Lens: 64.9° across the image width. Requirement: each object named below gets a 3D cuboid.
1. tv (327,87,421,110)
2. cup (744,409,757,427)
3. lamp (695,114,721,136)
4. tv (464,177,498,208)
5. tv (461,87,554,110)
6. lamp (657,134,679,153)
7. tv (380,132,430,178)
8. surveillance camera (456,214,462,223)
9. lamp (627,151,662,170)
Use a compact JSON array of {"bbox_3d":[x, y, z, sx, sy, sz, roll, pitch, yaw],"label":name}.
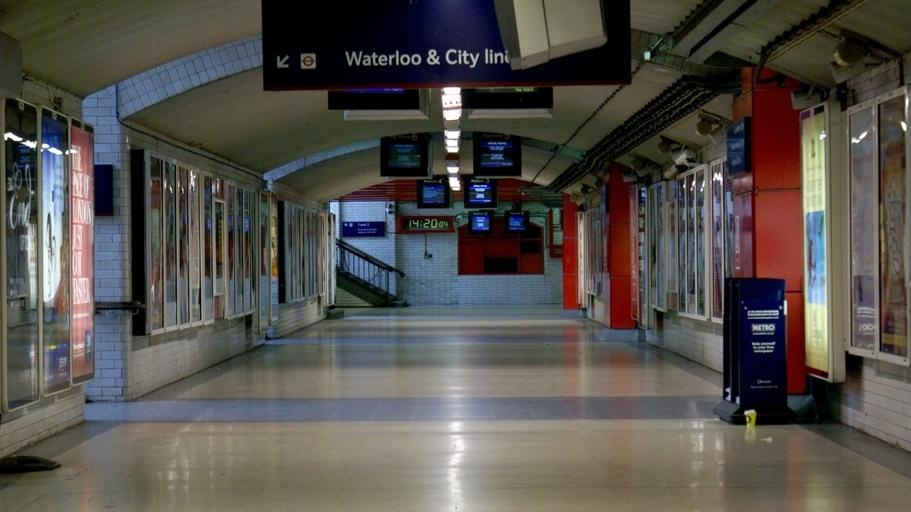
[{"bbox_3d":[-1.163,-2.310,10.579,1.384,0.293,0.570,-2,8,-13],"label":"tv"},{"bbox_3d":[3.975,2.177,9.669,0.198,0.220,0.194,0,-11,0],"label":"cup"},{"bbox_3d":[4.133,-2.156,11.805,0.457,0.321,0.299,-6,10,-38],"label":"lamp"},{"bbox_3d":[0.734,-1.819,20.752,0.949,0.817,0.468,1,-15,-5],"label":"tv"},{"bbox_3d":[0.803,-2.397,10.938,1.373,0.324,0.244,-1,8,-3],"label":"tv"},{"bbox_3d":[4.081,-2.144,13.704,0.389,0.313,0.447,2,8,15],"label":"lamp"},{"bbox_3d":[-1.073,-2.130,15.267,1.149,0.981,0.531,0,-8,1],"label":"tv"},{"bbox_3d":[0.143,-1.464,28.335,0.313,0.434,0.338,2,-2,-1],"label":"surveillance camera"},{"bbox_3d":[4.072,-2.038,15.523,0.392,0.176,0.577,14,1,24],"label":"lamp"}]
